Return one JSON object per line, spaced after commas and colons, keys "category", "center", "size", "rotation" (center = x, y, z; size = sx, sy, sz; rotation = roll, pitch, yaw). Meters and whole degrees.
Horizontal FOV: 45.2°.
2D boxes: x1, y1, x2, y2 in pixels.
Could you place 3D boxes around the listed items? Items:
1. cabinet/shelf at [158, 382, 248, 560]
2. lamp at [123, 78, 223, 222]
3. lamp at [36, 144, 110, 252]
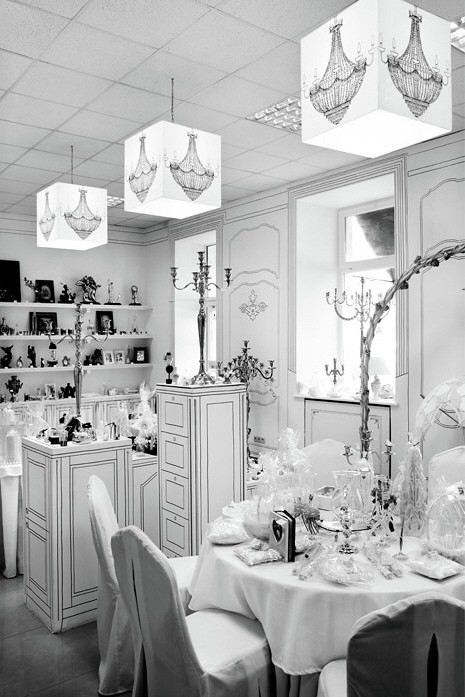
{"category": "cabinet/shelf", "center": [-0.223, 0.865, 3.741], "size": [0.374, 1.222, 0.421], "rotation": [0, -1, -41]}
{"category": "lamp", "center": [-0.329, -0.947, 3.027], "size": [0.417, 0.415, 0.420], "rotation": [-6, 5, -41]}
{"category": "lamp", "center": [-1.160, -0.938, 4.011], "size": [0.394, 0.403, 0.429], "rotation": [-5, 5, -38]}
